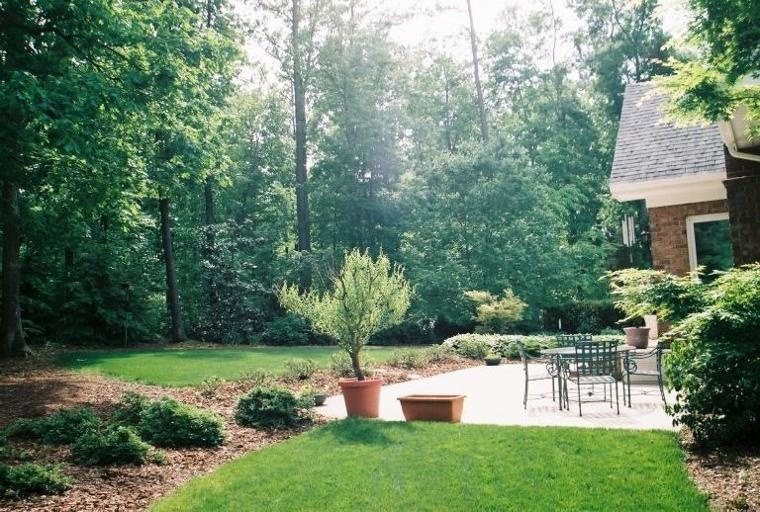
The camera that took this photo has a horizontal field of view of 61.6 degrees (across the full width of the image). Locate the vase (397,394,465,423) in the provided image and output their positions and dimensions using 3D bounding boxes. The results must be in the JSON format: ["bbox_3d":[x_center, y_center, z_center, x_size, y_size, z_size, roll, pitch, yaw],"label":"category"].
[{"bbox_3d":[1.082,3.121,13.074,1.274,0.524,0.406,-1,7,11],"label":"vase"}]

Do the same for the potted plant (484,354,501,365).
[{"bbox_3d":[3.833,3.476,21.544,0.545,0.279,1.284,-1,6,11],"label":"potted plant"}]

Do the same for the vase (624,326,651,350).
[{"bbox_3d":[6.258,1.947,15.635,0.601,0.489,0.610,-1,-2,-14],"label":"vase"}]
